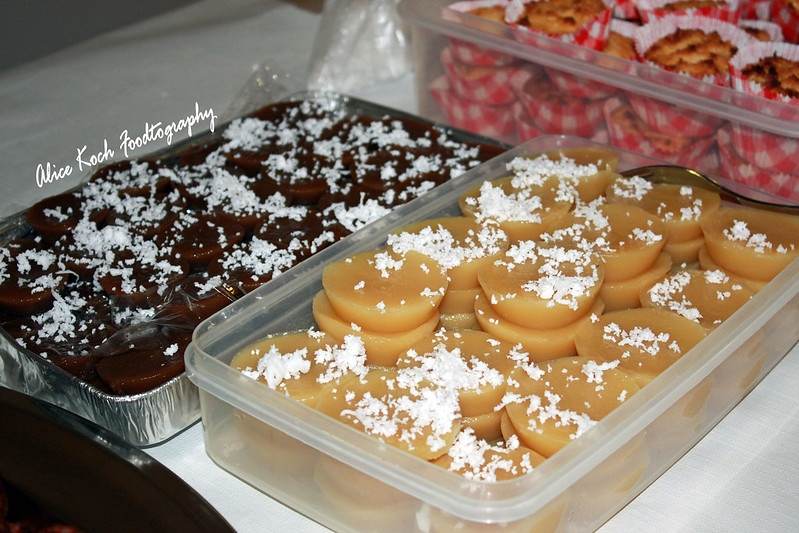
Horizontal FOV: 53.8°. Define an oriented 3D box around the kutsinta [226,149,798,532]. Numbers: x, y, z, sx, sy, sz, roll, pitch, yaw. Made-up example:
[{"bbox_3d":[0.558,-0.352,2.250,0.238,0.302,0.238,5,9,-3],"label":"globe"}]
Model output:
[{"bbox_3d":[0.200,0.061,1.261,0.504,0.201,0.738,28,51,33],"label":"kutsinta"}]
